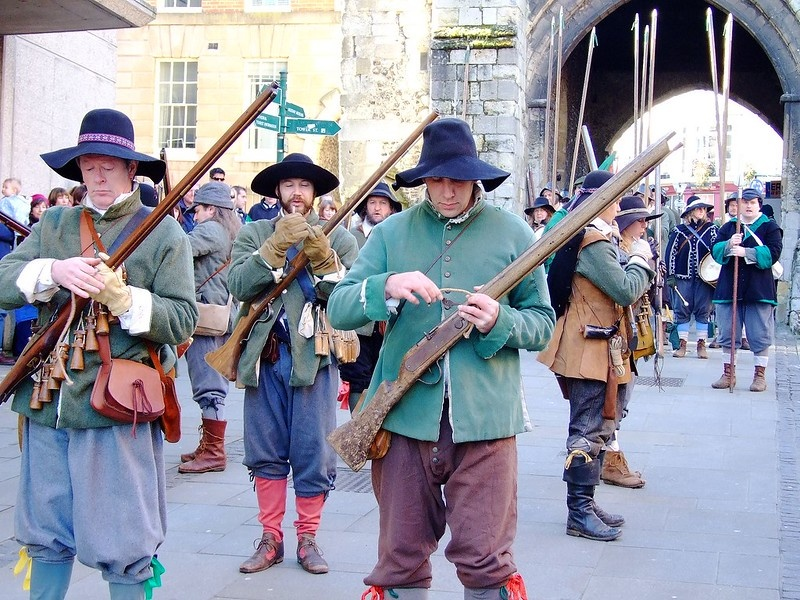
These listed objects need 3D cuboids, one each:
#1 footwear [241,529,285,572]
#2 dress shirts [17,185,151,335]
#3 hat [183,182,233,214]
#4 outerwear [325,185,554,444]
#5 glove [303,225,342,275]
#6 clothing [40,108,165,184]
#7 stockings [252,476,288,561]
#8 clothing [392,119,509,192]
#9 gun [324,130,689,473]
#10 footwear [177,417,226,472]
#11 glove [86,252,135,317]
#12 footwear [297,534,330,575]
[{"bbox_3d":[-0.827,1.481,5.672,0.153,0.195,0.315,4,7,22],"label":"footwear"},{"bbox_3d":[-1.587,-0.128,4.606,0.329,0.950,0.251,26,4,18],"label":"dress shirts"},{"bbox_3d":[-1.555,-0.860,7.975,0.258,0.167,0.264,2,-4,-10],"label":"hat"},{"bbox_3d":[0.250,0.094,4.845,1.484,1.569,0.995,0,-6,4],"label":"outerwear"},{"bbox_3d":[-0.472,-0.267,5.677,0.178,0.298,0.118,-25,24,2],"label":"glove"},{"bbox_3d":[-1.498,-0.676,4.767,0.450,0.260,0.450,1,-6,-13],"label":"clothing"},{"bbox_3d":[-0.774,1.316,5.754,0.160,0.478,0.143,8,-11,-36],"label":"stockings"},{"bbox_3d":[0.226,-0.678,4.573,0.391,0.226,0.402,-2,5,1],"label":"clothing"},{"bbox_3d":[0.424,0.013,4.401,1.492,1.527,0.169,0,7,-6],"label":"gun"},{"bbox_3d":[-1.574,1.119,7.536,0.368,0.392,0.408,4,-4,-14],"label":"footwear"},{"bbox_3d":[-1.342,-0.058,4.482,0.102,0.260,0.210,-32,26,18],"label":"glove"},{"bbox_3d":[-0.524,1.496,5.672,0.183,0.182,0.240,0,7,-7],"label":"footwear"}]
